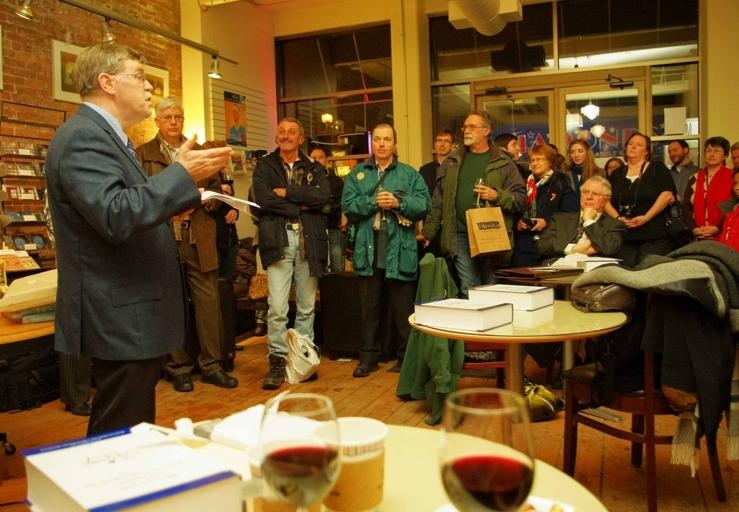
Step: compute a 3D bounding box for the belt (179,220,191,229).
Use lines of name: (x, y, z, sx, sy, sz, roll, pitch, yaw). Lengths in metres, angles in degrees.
belt: (-1.367, -0.229, 4.280, 0.090, 0.068, 0.054, -2, -8, 29)

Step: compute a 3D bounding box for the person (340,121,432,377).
person: (0.152, -0.025, 4.565, 0.694, 1.983, 0.609, -4, 12, 0)

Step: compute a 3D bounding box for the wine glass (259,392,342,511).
wine glass: (-0.126, 0.396, 1.231, 0.206, 0.319, 0.208, 0, 0, -2)

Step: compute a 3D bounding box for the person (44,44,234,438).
person: (-0.957, -0.049, 2.314, 0.670, 1.606, 0.451, -8, 12, -17)

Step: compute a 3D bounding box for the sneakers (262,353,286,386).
sneakers: (-0.727, 0.890, 4.368, 0.161, 0.216, 0.253, -4, 12, 2)

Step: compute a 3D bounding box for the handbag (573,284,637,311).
handbag: (1.091, 0.180, 2.671, 0.185, 0.085, 0.151, -1, -1, 35)

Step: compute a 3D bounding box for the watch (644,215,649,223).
watch: (2.320, -0.310, 4.817, 0.063, 0.062, 0.015, 1, 2, -25)

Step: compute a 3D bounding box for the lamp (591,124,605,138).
lamp: (3.068, -1.671, 7.703, 0.171, 0.169, 0.048, -5, -9, 20)

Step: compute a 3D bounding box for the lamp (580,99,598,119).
lamp: (2.998, -1.970, 7.792, 0.190, 0.257, 0.130, -2, -7, 25)

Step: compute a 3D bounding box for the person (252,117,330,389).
person: (-0.608, -0.051, 4.463, 0.754, 1.996, 0.544, -11, 13, -28)

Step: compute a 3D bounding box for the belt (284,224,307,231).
belt: (-0.576, -0.224, 4.412, 0.123, 0.063, 0.021, -6, 12, -11)

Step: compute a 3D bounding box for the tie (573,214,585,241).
tie: (1.532, -0.205, 4.237, 0.049, 0.148, 0.110, -2, 16, 10)

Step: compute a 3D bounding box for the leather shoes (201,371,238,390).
leather shoes: (-1.147, 0.962, 4.497, 0.315, 0.131, 0.116, 1, 4, 25)

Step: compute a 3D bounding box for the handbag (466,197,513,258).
handbag: (0.903, -0.226, 4.298, 0.385, 0.533, 0.162, -10, -8, -34)

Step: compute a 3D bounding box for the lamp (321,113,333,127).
lamp: (-0.676, -2.211, 9.353, 0.195, 0.203, 0.199, 1, 0, 35)
